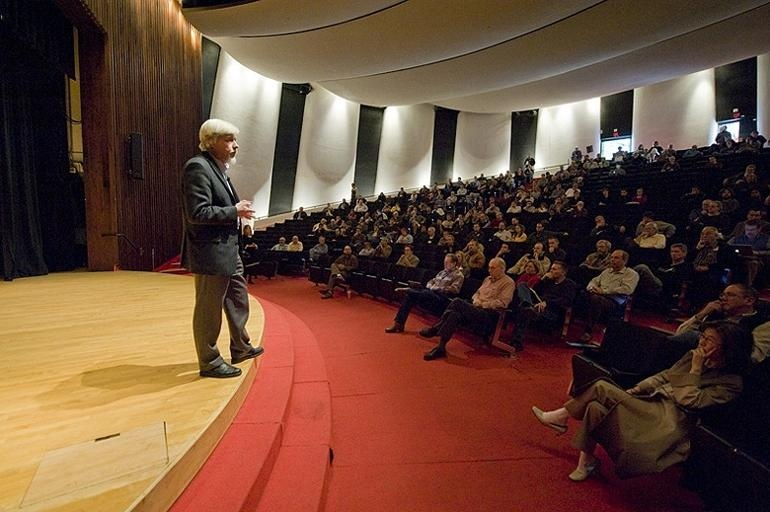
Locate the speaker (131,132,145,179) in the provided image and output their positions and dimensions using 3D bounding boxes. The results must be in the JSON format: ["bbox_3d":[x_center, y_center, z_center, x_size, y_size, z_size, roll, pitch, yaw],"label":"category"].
[{"bbox_3d":[-4.148,-1.671,8.074,0.206,0.745,0.157,-5,10,-38],"label":"speaker"}]

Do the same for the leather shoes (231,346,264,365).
[{"bbox_3d":[-1.198,0.863,4.246,0.287,0.109,0.104,-15,17,-34],"label":"leather shoes"}]

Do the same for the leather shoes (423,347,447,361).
[{"bbox_3d":[0.582,1.132,5.536,0.287,0.121,0.114,2,-6,-23],"label":"leather shoes"}]

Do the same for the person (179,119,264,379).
[{"bbox_3d":[-1.369,-0.071,4.016,0.585,2.106,0.461,-2,9,-24],"label":"person"}]

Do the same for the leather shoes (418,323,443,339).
[{"bbox_3d":[0.580,0.940,6.030,0.350,0.265,0.124,1,1,26],"label":"leather shoes"}]

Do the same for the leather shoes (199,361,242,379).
[{"bbox_3d":[-1.351,0.957,4.036,0.257,0.101,0.148,0,2,-6],"label":"leather shoes"}]
